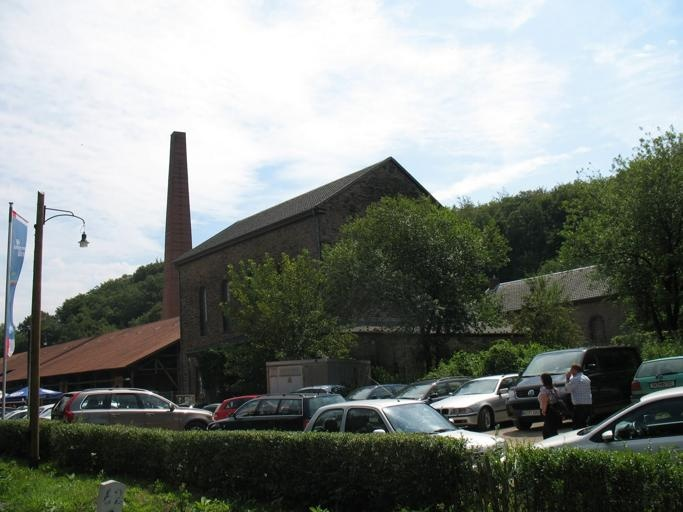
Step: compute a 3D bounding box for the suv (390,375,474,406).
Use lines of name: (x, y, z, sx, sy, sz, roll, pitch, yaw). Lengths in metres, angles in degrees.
suv: (2.913, 4.221, 22.517, 2.071, 0.741, 0.973, 6, -11, -36)

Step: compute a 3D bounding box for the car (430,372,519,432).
car: (4.072, 4.177, 20.706, 1.313, 0.943, 2.688, -10, -14, 36)

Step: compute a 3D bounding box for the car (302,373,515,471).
car: (1.247, 3.267, 14.257, 2.548, 1.233, 1.600, -16, -17, 28)

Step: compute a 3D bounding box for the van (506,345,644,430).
van: (6.545, 3.688, 19.822, 3.687, 2.042, 2.054, 8, -16, -35)

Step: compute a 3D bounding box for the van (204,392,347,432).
van: (-1.961, 4.318, 19.625, 3.333, 1.324, 1.584, -3, -8, 29)
